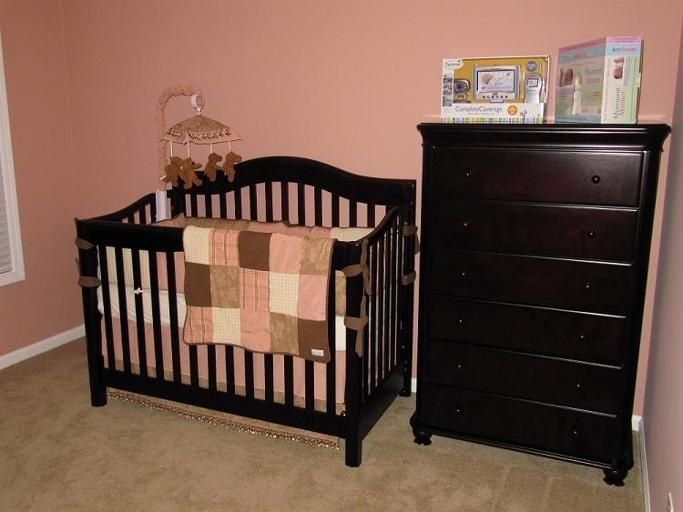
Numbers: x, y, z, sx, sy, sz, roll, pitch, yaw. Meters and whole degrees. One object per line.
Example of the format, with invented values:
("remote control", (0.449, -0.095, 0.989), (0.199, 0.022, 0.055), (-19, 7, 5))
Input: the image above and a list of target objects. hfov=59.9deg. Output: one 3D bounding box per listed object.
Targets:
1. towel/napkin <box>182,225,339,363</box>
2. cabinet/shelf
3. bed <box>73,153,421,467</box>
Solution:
("towel/napkin", (-0.389, 0.193, 2.842), (0.651, 0.530, 0.066), (4, 13, 17))
("cabinet/shelf", (0.947, 0.185, 3.069), (1.123, 1.721, 0.639), (5, 15, 21))
("bed", (-0.518, 0.168, 3.358), (1.708, 1.418, 1.046), (5, 11, 25))
